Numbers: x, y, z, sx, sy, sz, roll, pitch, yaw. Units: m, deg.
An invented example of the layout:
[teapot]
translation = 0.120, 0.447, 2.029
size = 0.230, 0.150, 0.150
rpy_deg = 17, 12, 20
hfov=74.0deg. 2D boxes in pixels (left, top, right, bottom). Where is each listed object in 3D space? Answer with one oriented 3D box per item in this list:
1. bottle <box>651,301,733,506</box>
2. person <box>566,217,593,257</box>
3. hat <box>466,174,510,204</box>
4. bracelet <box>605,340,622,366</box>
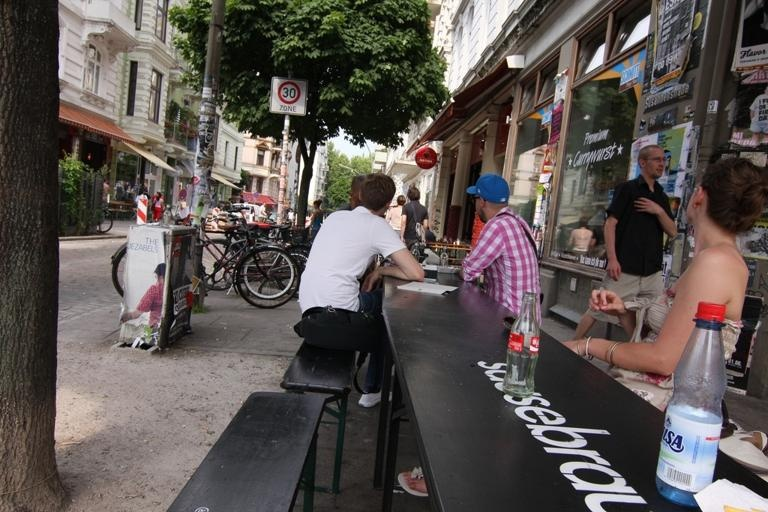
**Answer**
[bottle]
translation = 1.175, 0.544, 1.906
size = 0.201, 0.702, 0.335
rpy_deg = 14, 15, 36
[person]
translation = 3.284, -0.165, 8.539
size = 0.369, 1.035, 0.267
rpy_deg = 6, 33, 17
[hat]
translation = 0.966, -0.631, 4.790
size = 0.248, 0.212, 0.355
rpy_deg = -16, 33, -39
[bracelet]
translation = 1.373, 0.599, 3.084
size = 0.041, 0.124, 0.110
rpy_deg = 3, -29, 11
